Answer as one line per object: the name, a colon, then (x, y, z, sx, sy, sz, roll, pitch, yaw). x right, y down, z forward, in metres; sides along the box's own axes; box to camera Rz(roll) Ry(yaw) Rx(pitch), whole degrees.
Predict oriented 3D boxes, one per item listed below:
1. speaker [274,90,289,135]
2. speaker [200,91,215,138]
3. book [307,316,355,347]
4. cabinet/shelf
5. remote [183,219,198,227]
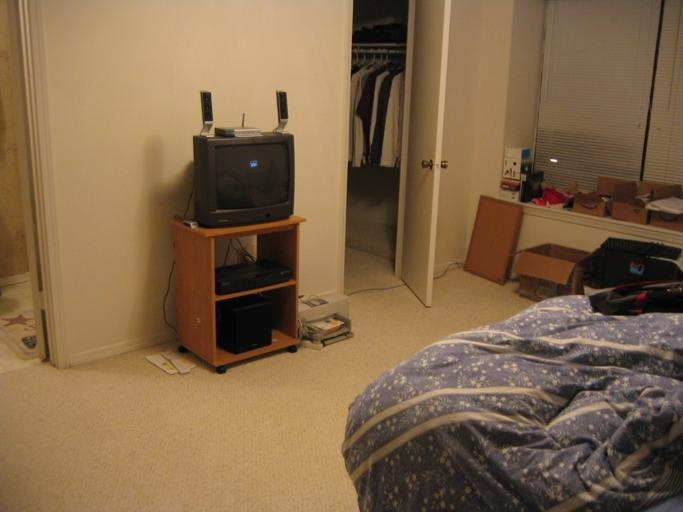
speaker: (-0.357, -0.939, 3.468, 0.080, 0.262, 0.178, -5, 12, 1)
speaker: (-0.764, -0.859, 3.212, 0.083, 0.254, 0.134, -8, 12, -12)
book: (-0.062, 0.525, 3.754, 0.212, 0.076, 0.208, -15, 27, -33)
cabinet/shelf: (-0.630, 0.211, 3.532, 0.650, 0.905, 0.557, -12, 19, -43)
remote: (-0.862, -0.210, 3.245, 0.040, 0.021, 0.065, -13, 30, -42)
